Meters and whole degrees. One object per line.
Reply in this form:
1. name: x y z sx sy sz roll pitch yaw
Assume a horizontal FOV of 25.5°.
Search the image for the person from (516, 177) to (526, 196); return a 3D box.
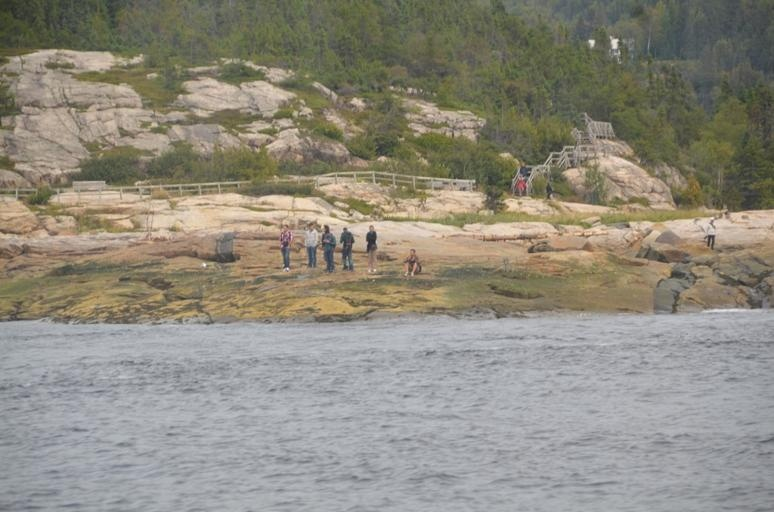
1. person: 21.109 -11.045 268.471 1.651 2.610 0.962 2 8 20
